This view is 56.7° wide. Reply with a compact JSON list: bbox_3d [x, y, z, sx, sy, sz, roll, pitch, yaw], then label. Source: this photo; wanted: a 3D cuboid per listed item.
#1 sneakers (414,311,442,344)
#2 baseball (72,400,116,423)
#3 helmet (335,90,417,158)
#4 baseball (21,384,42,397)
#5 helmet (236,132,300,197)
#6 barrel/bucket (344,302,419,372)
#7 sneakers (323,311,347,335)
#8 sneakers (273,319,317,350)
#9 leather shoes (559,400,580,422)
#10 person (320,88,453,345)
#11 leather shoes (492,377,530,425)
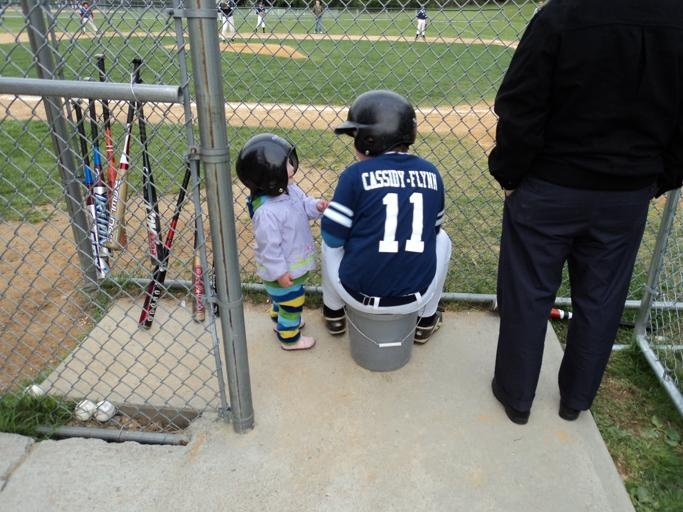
[{"bbox_3d":[0.577,0.444,4.182,0.087,0.277,0.111,-27,62,-37],"label":"sneakers"},{"bbox_3d":[-1.409,0.894,3.632,0.171,0.062,0.119,10,43,-15],"label":"baseball"},{"bbox_3d":[0.206,-0.807,3.829,0.482,0.399,0.412,-4,17,-7],"label":"helmet"},{"bbox_3d":[-1.755,0.769,3.617,0.067,0.042,0.067,19,6,-30],"label":"baseball"},{"bbox_3d":[-0.450,-0.564,3.784,0.391,0.351,0.328,-2,23,2],"label":"helmet"},{"bbox_3d":[0.248,0.509,3.876,0.406,0.397,0.414,-1,28,1],"label":"barrel/bucket"},{"bbox_3d":[-0.036,0.444,4.200,0.081,0.105,0.229,-2,10,-9],"label":"sneakers"},{"bbox_3d":[-0.310,0.573,4.176,0.264,0.266,0.134,-18,51,-13],"label":"sneakers"},{"bbox_3d":[1.314,0.900,3.670,0.065,0.064,0.142,-1,14,6],"label":"leather shoes"},{"bbox_3d":[0.335,-0.210,4.095,0.939,1.679,1.006,-3,22,-7],"label":"person"},{"bbox_3d":[0.985,0.886,3.719,0.109,0.118,0.315,-9,39,-4],"label":"leather shoes"}]
